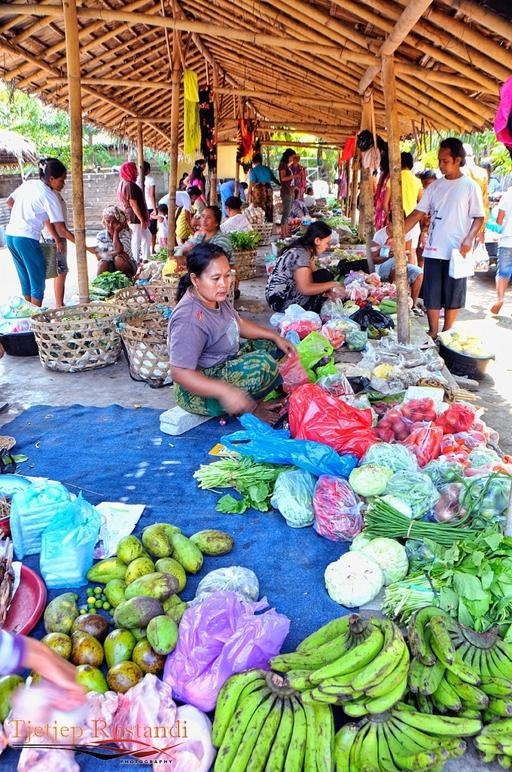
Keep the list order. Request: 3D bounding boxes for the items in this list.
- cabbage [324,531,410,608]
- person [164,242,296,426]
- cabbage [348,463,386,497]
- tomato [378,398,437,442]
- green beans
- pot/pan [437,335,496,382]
[{"bbox_3d":[0.415,0.696,1.939,0.286,0.115,0.214,-29,35,-32],"label":"cabbage"},{"bbox_3d":[-0.168,-0.264,3.254,0.842,1.310,0.753,0,17,-8],"label":"person"},{"bbox_3d":[0.515,0.430,2.302,0.145,0.088,0.144,-24,28,-16],"label":"cabbage"},{"bbox_3d":[0.838,0.195,2.854,0.267,0.208,0.386,10,13,34],"label":"tomato"},{"bbox_3d":[0.657,0.576,2.054,0.421,0.140,0.148,5,11,12],"label":"green beans"},{"bbox_3d":[2.160,-0.258,5.240,0.512,0.429,0.255,7,12,22],"label":"pot/pan"}]
